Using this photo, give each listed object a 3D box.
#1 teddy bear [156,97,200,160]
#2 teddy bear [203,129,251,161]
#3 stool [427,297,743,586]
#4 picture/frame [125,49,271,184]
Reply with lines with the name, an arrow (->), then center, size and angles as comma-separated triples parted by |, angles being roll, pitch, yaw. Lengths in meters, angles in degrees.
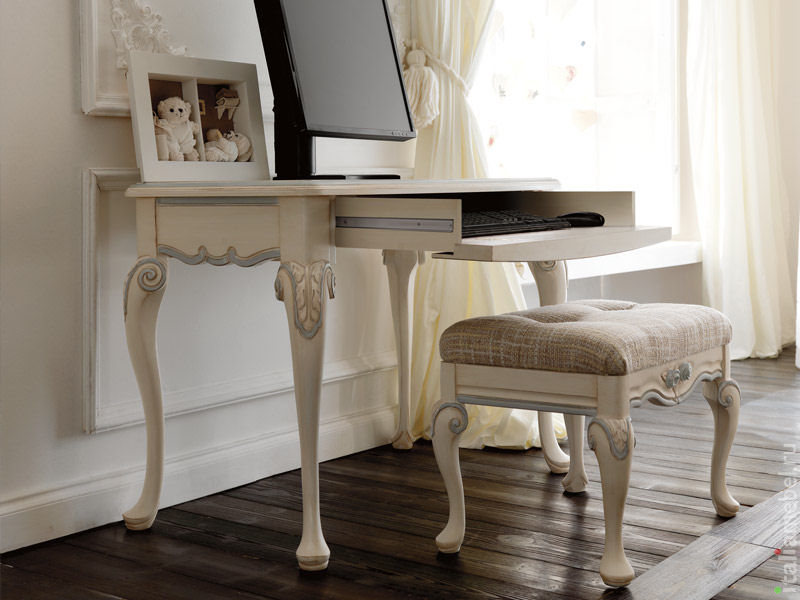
teddy bear -> -0.604, -0.461, 1.891 | 0.124, 0.178, 0.090 | -11, 11, -27
teddy bear -> -0.489, -0.427, 1.977 | 0.092, 0.107, 0.042 | 5, -19, -35
stool -> 0.496, 0.337, 1.826 | 0.565, 0.644, 0.729 | 1, 5, 43
picture/frame -> -0.567, -0.494, 1.904 | 0.048, 0.360, 0.376 | -14, -6, 42
